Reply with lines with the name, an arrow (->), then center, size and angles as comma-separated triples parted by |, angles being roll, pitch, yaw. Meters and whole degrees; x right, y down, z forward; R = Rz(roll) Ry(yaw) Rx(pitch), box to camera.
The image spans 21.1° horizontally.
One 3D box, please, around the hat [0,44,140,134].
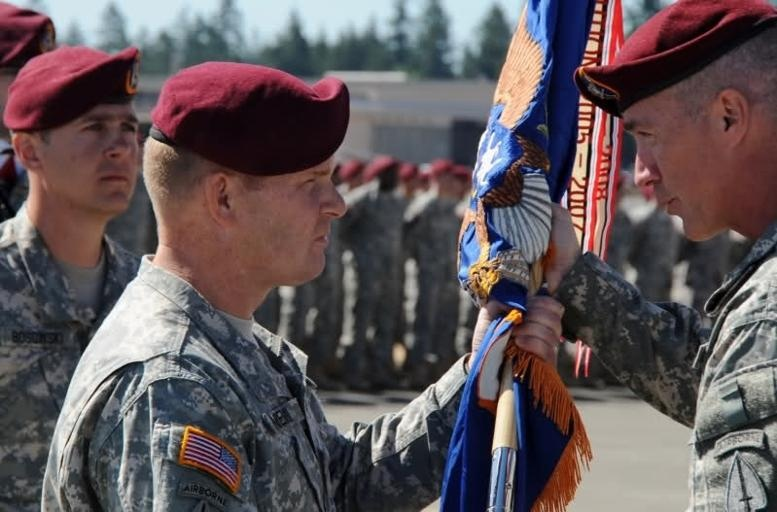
hat -> -1.511, -0.827, 9.932 | 0.535, 0.219, 0.391 | -26, 13, -18
